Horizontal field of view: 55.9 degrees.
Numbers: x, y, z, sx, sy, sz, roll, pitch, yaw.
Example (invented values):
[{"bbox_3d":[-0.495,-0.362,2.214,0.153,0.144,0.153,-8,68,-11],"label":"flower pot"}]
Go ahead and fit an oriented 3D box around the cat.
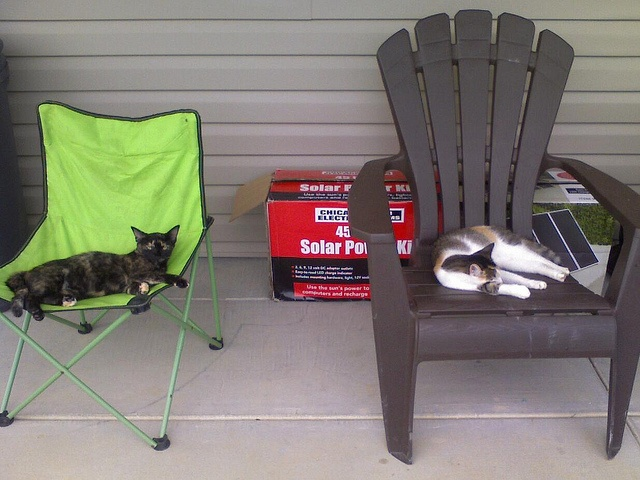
[{"bbox_3d":[0.749,0.080,2.558,0.407,0.123,0.316,21,47,39],"label":"cat"}]
